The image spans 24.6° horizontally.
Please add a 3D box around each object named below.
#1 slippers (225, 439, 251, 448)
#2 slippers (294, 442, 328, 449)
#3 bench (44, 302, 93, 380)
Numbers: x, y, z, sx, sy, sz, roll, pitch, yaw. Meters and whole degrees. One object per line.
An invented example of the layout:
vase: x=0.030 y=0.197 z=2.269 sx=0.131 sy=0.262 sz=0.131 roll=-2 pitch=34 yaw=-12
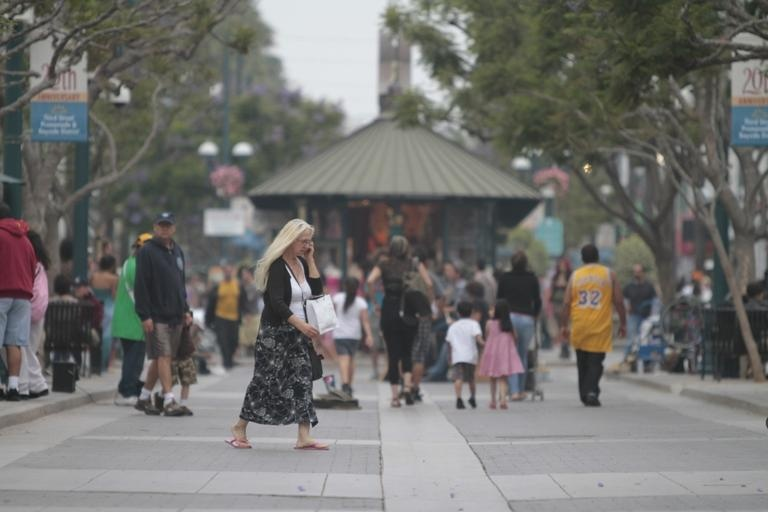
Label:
slippers: x=-2.189 y=2.845 z=26.285 sx=0.306 sy=0.081 sz=0.149 roll=1 pitch=-3 yaw=5
slippers: x=-1.102 y=2.859 z=26.176 sx=0.386 sy=0.088 sz=0.171 roll=-2 pitch=-2 yaw=2
bench: x=-5.593 y=1.521 z=31.295 sx=0.706 sy=1.314 sz=0.678 roll=-1 pitch=-4 yaw=23
